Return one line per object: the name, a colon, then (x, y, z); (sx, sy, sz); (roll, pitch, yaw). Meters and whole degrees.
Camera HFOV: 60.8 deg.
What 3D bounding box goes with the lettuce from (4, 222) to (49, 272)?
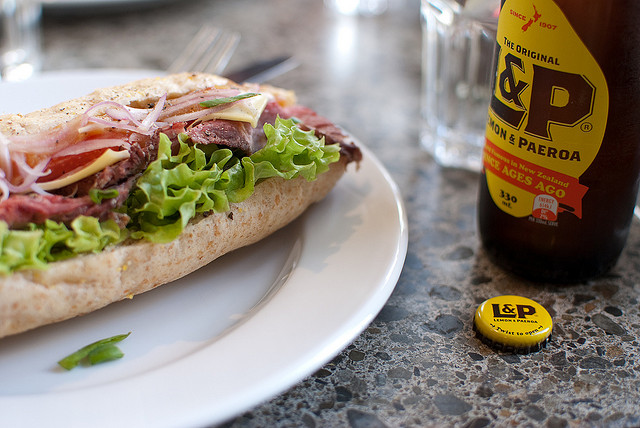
lettuce: (-0.646, 0.075, 1.206); (0.076, 0.095, 0.107); (3, -1, 20)
